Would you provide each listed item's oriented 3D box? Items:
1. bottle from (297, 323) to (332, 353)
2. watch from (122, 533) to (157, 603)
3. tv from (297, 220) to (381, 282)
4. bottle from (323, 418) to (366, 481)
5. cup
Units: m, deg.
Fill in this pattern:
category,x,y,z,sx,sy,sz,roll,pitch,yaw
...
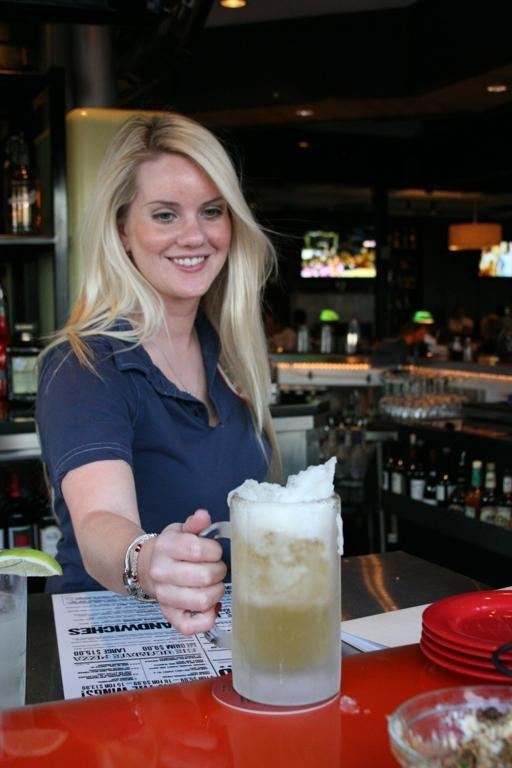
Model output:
category,x,y,z,sx,sy,sz,roll,pitch,yaw
bottle,0.557,-0.416,6.194,0.349,0.292,0.117,0,-7,4
watch,-0.125,0.188,0.673,0.028,0.058,0.051,-13,-18,16
tv,0.762,-1.184,5.859,0.097,0.431,0.747,2,2,-39
bottle,0.617,0.481,4.592,0.319,0.394,0.124,-2,-9,6
cup,0.023,0.167,0.551,0.148,0.220,0.137,0,1,0
